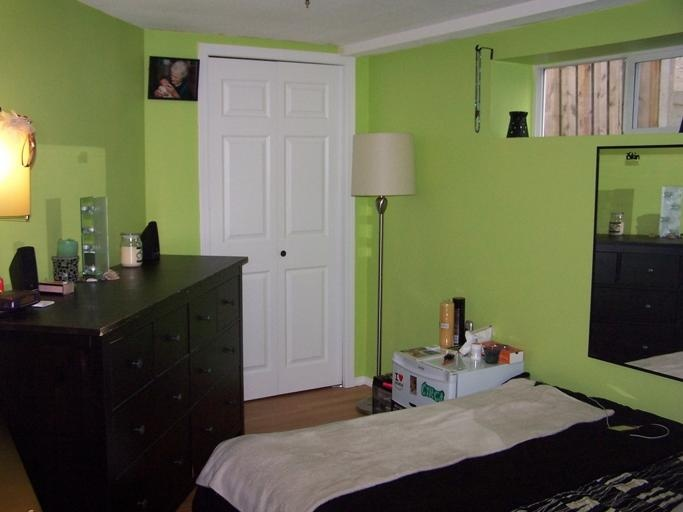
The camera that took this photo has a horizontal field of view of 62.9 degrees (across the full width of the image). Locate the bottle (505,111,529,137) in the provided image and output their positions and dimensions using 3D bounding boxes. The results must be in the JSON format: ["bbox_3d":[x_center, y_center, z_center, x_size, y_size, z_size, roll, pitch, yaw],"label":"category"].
[{"bbox_3d":[1.064,-0.793,3.364,0.154,0.171,0.157,4,8,28],"label":"bottle"}]

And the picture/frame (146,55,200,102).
[{"bbox_3d":[-1.162,-1.216,3.770,0.331,0.388,0.054,0,15,-10],"label":"picture/frame"}]

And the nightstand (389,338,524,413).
[{"bbox_3d":[0.700,0.660,3.332,0.496,0.303,0.483,-4,8,-25],"label":"nightstand"}]

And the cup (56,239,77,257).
[{"bbox_3d":[-1.415,-0.042,2.867,0.094,0.094,0.087,2,-6,0],"label":"cup"}]

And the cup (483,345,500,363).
[{"bbox_3d":[0.879,0.580,3.329,0.089,0.105,0.100,-3,7,-22],"label":"cup"}]

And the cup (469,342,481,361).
[{"bbox_3d":[0.796,0.564,3.298,0.090,0.129,0.082,1,0,0],"label":"cup"}]
